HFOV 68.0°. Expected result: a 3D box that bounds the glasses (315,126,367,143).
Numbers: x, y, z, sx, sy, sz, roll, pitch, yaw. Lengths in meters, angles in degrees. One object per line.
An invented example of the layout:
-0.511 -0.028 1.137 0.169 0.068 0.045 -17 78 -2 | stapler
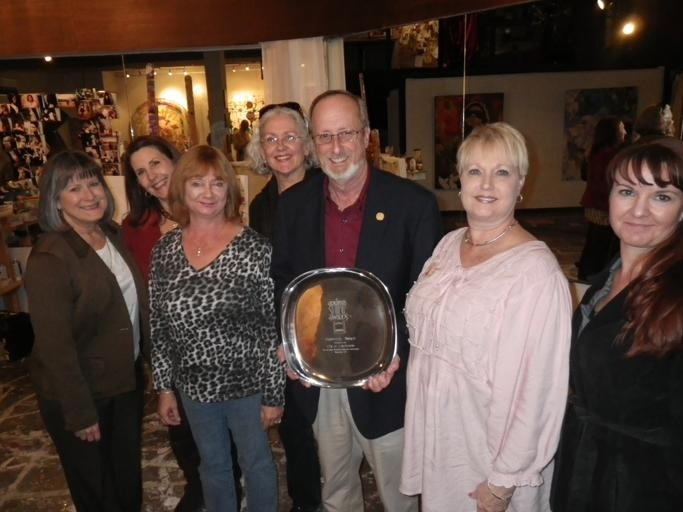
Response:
-0.021 -0.616 2.632 0.255 0.066 0.082 -5 16 -1 | glasses

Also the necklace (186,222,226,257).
-0.733 -0.071 2.696 0.187 0.194 0.081 -4 -15 14 | necklace
